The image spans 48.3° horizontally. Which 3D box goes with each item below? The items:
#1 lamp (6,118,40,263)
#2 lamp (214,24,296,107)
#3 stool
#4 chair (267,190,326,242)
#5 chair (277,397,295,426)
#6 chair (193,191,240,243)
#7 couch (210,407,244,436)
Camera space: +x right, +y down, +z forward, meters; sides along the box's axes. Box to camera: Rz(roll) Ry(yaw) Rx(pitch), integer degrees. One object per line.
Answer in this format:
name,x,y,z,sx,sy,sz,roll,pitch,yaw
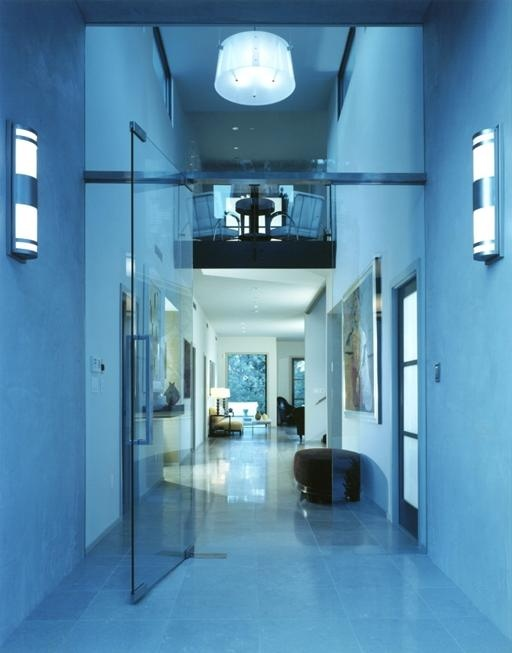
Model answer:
lamp,-1.025,-0.570,2.567,0.086,0.614,0.364,1,0,-11
lamp,0.014,-1.998,4.502,0.684,0.435,0.626,1,0,-7
stool,0.683,1.390,5.434,0.497,0.501,0.547,-4,-4,36
chair,0.422,-0.928,5.101,0.283,0.385,0.496,7,1,-33
chair,0.907,2.685,18.177,0.587,1.169,0.801,2,-8,-20
chair,-0.327,-0.900,4.786,0.395,0.297,1.019,1,0,-6
couch,-0.798,2.450,14.623,0.816,0.607,0.977,1,0,-7
